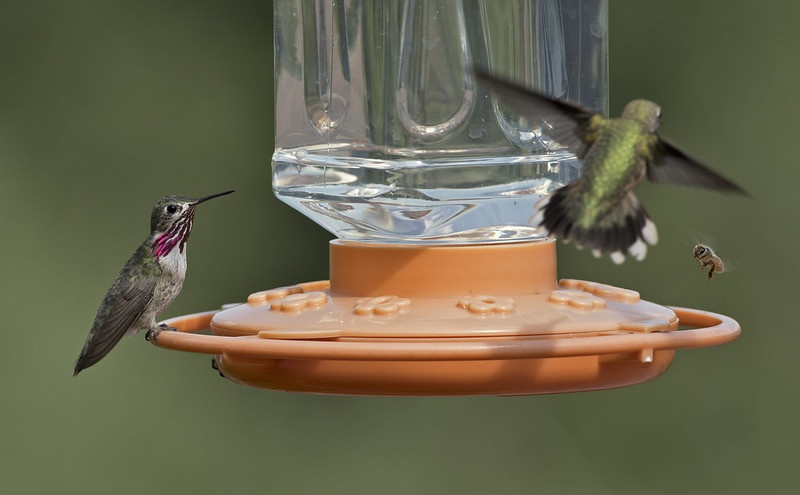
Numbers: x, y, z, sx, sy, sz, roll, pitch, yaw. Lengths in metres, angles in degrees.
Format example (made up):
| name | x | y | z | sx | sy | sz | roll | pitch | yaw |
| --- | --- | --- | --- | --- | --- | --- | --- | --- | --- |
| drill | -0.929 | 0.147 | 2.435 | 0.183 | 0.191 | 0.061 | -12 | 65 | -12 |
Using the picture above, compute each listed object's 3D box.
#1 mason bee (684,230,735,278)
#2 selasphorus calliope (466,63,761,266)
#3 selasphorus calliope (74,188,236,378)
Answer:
| name | x | y | z | sx | sy | sz | roll | pitch | yaw |
| --- | --- | --- | --- | --- | --- | --- | --- | --- | --- |
| mason bee | 0.753 | 0.027 | 2.487 | 0.149 | 0.056 | 0.065 | 23 | -3 | -36 |
| selasphorus calliope | 0.325 | -0.180 | 1.762 | 0.494 | 0.411 | 0.239 | 8 | -29 | -15 |
| selasphorus calliope | -0.514 | 0.067 | 2.114 | 0.396 | 0.355 | 0.138 | -8 | 13 | -8 |
